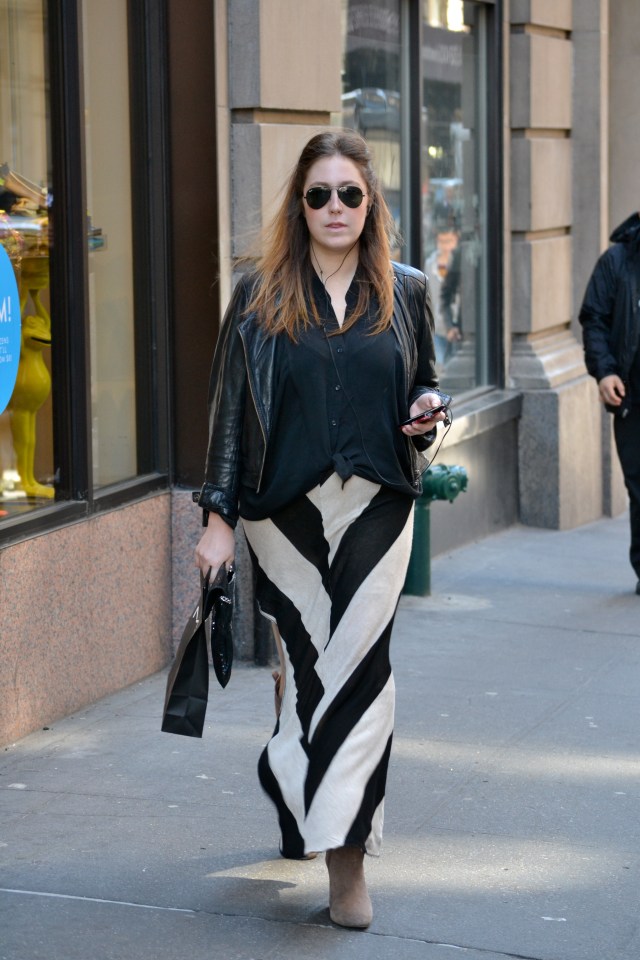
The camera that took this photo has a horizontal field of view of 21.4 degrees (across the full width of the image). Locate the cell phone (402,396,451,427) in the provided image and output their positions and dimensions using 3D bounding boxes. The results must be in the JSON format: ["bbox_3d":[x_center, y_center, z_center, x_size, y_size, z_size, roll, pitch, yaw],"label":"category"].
[{"bbox_3d":[0.257,-0.166,4.073,0.063,0.014,0.119,-29,1,36],"label":"cell phone"}]

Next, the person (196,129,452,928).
[{"bbox_3d":[-0.008,0.090,4.139,0.571,1.699,0.406,1,7,4],"label":"person"}]

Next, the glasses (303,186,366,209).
[{"bbox_3d":[0.035,-0.669,4.036,0.140,0.060,0.050,1,7,0],"label":"glasses"}]
